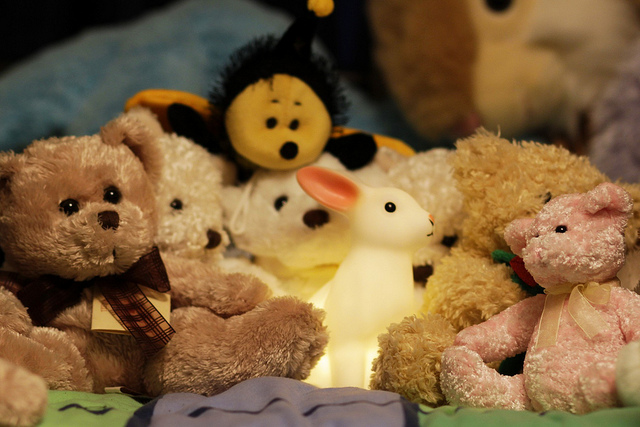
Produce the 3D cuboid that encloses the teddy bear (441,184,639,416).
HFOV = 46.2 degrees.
[{"bbox_3d":[0.530,0.220,1.767,0.288,0.492,0.416,19,-20,-35],"label":"teddy bear"}]

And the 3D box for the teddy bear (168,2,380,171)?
[{"bbox_3d":[-0.167,-0.368,2.181,0.530,0.433,0.162,3,21,-26],"label":"teddy bear"}]

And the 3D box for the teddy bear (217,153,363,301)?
[{"bbox_3d":[-0.064,0.103,2.267,0.475,0.521,0.373,-11,4,-32],"label":"teddy bear"}]
